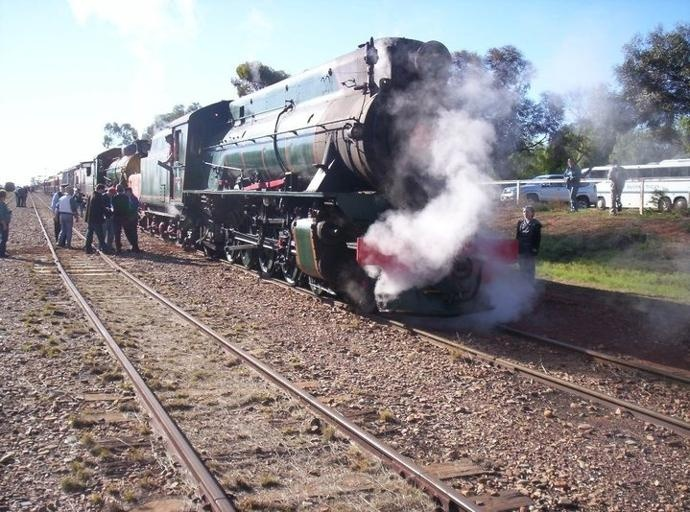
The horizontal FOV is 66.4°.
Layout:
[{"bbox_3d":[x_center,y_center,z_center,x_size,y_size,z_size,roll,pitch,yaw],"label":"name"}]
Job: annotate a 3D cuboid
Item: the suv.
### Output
[{"bbox_3d":[9.539,-3.084,24.735,4.107,1.838,2.010,3,3,1],"label":"suv"}]
